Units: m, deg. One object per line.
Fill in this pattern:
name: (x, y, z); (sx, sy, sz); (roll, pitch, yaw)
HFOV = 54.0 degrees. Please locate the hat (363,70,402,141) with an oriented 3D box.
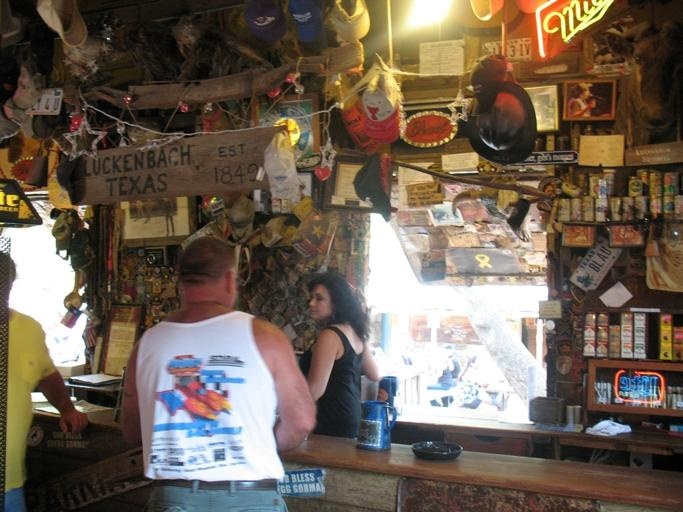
hat: (0.281, -1.037, 4.700); (0.257, 0.362, 0.508); (2, -5, 5)

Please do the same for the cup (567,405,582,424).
cup: (1.686, 1.160, 4.890); (0.105, 0.133, 0.062); (0, -7, 20)

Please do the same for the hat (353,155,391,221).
hat: (0.236, -0.485, 4.776); (0.215, 0.254, 0.448); (-10, -45, 8)

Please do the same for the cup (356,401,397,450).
cup: (0.205, 1.003, 3.969); (0.214, 0.285, 0.160); (3, -6, -6)

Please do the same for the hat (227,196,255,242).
hat: (-0.888, -0.332, 5.864); (0.253, 0.400, 0.154); (3, -6, -7)

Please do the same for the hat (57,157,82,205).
hat: (-1.877, -0.526, 4.663); (0.125, 0.278, 0.285); (-5, 14, -43)

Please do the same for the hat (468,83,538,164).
hat: (1.026, -0.835, 4.232); (0.512, 0.482, 0.203); (17, 27, 31)

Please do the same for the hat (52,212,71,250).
hat: (-2.756, -0.238, 6.574); (0.254, 0.407, 0.123); (-3, -8, 42)
